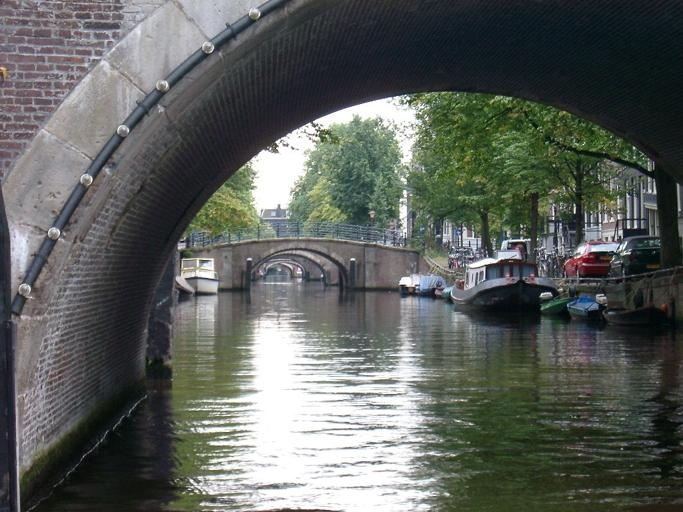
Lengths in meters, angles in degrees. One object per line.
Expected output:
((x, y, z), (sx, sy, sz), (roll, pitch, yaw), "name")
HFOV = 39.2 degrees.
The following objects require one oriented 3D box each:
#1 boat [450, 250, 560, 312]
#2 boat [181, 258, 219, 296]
((5.443, 0.827, 31.869), (2.091, 1.336, 4.172), (-1, -4, -3), "boat")
((-7.174, 1.089, 47.826), (1.874, 1.972, 5.163), (0, -8, -9), "boat")
